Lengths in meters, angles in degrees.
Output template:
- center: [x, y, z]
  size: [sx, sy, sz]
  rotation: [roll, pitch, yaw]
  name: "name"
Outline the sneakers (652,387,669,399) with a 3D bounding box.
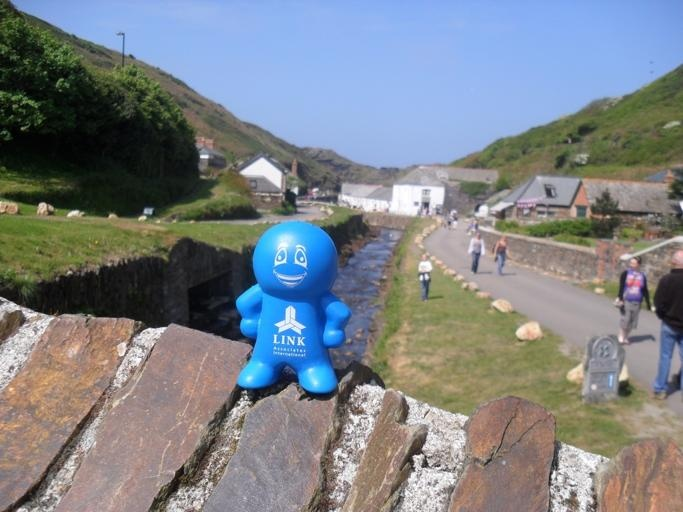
- center: [5.499, 2.335, 9.178]
  size: [0.155, 0.151, 0.314]
  rotation: [0, 9, 16]
  name: "sneakers"
